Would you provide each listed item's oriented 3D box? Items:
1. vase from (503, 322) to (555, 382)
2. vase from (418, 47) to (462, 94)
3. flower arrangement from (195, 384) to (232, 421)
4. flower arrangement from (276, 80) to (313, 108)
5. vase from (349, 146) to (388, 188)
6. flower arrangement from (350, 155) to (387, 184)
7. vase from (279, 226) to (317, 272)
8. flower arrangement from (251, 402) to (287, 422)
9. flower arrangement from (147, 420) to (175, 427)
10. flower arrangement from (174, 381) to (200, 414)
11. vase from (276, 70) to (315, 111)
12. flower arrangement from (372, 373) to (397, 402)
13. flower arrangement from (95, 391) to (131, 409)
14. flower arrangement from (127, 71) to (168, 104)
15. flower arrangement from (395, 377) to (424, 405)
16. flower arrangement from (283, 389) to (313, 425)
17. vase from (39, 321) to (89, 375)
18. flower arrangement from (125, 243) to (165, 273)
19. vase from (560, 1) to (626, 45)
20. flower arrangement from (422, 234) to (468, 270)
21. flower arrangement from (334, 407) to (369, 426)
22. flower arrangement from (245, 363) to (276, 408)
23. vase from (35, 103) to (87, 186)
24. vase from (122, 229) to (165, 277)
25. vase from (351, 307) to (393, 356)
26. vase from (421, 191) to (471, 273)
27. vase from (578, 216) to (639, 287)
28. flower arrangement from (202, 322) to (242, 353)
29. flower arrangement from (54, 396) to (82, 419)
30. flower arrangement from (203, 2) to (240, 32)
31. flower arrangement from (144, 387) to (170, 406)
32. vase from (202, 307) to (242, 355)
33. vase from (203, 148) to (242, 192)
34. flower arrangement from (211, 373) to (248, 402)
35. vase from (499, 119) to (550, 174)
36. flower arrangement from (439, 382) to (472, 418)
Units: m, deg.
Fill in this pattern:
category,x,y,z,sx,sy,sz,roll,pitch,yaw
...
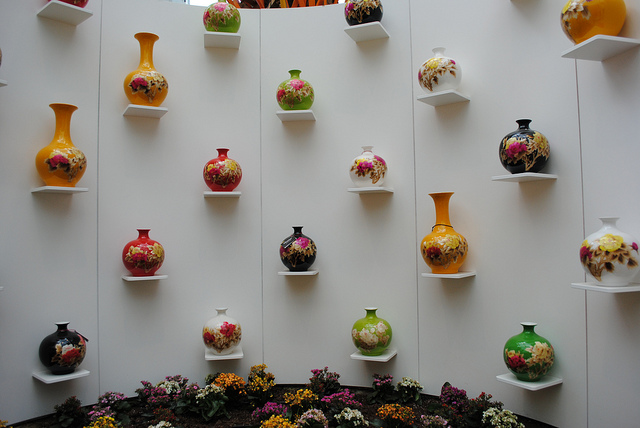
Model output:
category,x,y,z,sx,sy,sz,roll,pitch,yaw
vase,2.061,1.363,5.637,0.421,0.588,0.437,-2,-6,-1
vase,1.260,-1.474,6.191,0.405,0.592,0.465,1,-6,-14
flower arrangement,-1.107,1.954,5.928,0.354,0.340,0.240,4,-10,-17
flower arrangement,-0.291,-1.376,6.405,0.271,0.302,0.307,0,1,-12
vase,0.540,-0.498,6.442,0.411,0.559,0.408,-2,-5,33
flower arrangement,0.532,-0.495,6.252,0.276,0.315,0.291,-2,-1,17
vase,-0.285,0.421,6.548,0.423,0.583,0.433,1,-10,-8
flower arrangement,-0.507,2.008,5.771,0.182,0.156,0.218,-14,-9,43
flower arrangement,-1.555,2.076,5.604,0.244,0.069,0.130,5,-10,-22
flower arrangement,-1.385,1.950,6.049,0.229,0.225,0.229,-1,-19,2
vase,-0.289,-1.352,6.606,0.407,0.564,0.414,0,-8,-1
flower arrangement,0.642,1.872,6.133,0.233,0.181,0.286,1,4,5
flower arrangement,-2.161,1.951,5.982,0.351,0.153,0.304,4,-10,-18
flower arrangement,-1.875,-1.401,6.205,0.293,0.326,0.308,5,3,4
flower arrangement,0.968,1.891,6.090,0.311,0.258,0.226,1,-9,-1
flower arrangement,-0.210,1.980,5.876,0.283,0.327,0.236,17,-25,-21
vase,-2.665,1.408,5.913,0.411,0.574,0.450,-3,-6,8
flower arrangement,-1.899,0.473,6.161,0.389,0.320,0.116,5,-10,-24
vase,2.509,-1.765,5.217,0.391,0.404,0.397,-11,-19,-37
flower arrangement,1.284,0.391,5.883,0.446,0.339,0.131,0,-9,1
flower arrangement,0.308,2.028,5.641,0.178,0.124,0.190,4,-1,-7
flower arrangement,-0.661,1.861,6.148,0.290,0.414,0.274,8,-11,-36
vase,-2.664,-0.702,5.893,0.466,0.840,0.208,5,-10,-23
vase,-1.946,0.449,6.305,0.401,0.560,0.421,-7,-12,18
vase,0.567,1.318,6.340,0.410,0.576,0.425,0,-2,-32
vase,1.335,0.195,5.985,0.520,0.846,0.271,5,-10,-26
vase,2.549,0.387,5.262,0.517,0.741,0.546,-1,-15,5
flower arrangement,-1.085,1.347,6.250,0.289,0.254,0.342,-6,-12,24
flower arrangement,-2.530,1.955,5.708,0.193,0.135,0.171,-21,-31,-13
flower arrangement,-1.107,-2.220,6.565,0.294,0.467,0.306,-1,0,24
flower arrangement,-1.706,1.915,5.992,0.149,0.138,0.165,4,1,-18
vase,-1.114,1.365,6.439,0.441,0.612,0.458,-5,-11,2
vase,-1.079,-0.437,6.435,0.412,0.570,0.424,0,-8,-3
flower arrangement,-0.961,1.896,6.207,0.347,0.288,0.352,-8,-5,28
vase,2.044,-0.639,5.739,0.458,0.638,0.469,1,-6,2
flower arrangement,1.369,1.883,5.763,0.318,0.299,0.269,-2,-10,18
